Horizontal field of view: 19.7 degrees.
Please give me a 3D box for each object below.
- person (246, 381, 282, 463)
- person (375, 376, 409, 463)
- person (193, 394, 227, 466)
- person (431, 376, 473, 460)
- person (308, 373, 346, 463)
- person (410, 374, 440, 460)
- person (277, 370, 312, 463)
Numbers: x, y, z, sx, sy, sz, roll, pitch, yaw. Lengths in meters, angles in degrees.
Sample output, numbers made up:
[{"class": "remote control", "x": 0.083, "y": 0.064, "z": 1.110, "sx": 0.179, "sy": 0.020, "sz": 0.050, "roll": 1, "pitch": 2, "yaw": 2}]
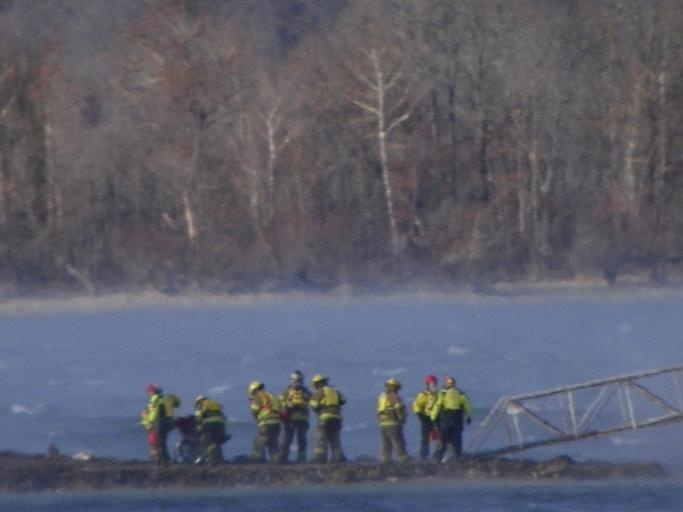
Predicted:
[{"class": "person", "x": -1.815, "y": 3.912, "z": 46.778, "sx": 0.709, "sy": 1.877, "sz": 0.462, "roll": -2, "pitch": -7, "yaw": -3}, {"class": "person", "x": 1.116, "y": 3.806, "z": 46.142, "sx": 0.630, "sy": 1.910, "sz": 1.050, "roll": -2, "pitch": -7, "yaw": 2}, {"class": "person", "x": -3.105, "y": 4.127, "z": 46.886, "sx": 0.723, "sy": 1.685, "sz": 0.759, "roll": -14, "pitch": -10, "yaw": 40}, {"class": "person", "x": 2.511, "y": 3.839, "z": 46.474, "sx": 0.920, "sy": 1.896, "sz": 0.563, "roll": 2, "pitch": -8, "yaw": 1}, {"class": "person", "x": -0.378, "y": 3.812, "z": 46.616, "sx": 0.784, "sy": 2.050, "sz": 0.415, "roll": -2, "pitch": -7, "yaw": -1}, {"class": "person", "x": 2.004, "y": 3.801, "z": 46.948, "sx": 0.827, "sy": 1.948, "sz": 0.530, "roll": 2, "pitch": 9, "yaw": -11}, {"class": "person", "x": -1.112, "y": 3.794, "z": 46.992, "sx": 0.796, "sy": 2.163, "sz": 0.749, "roll": 0, "pitch": -1, "yaw": -13}]
